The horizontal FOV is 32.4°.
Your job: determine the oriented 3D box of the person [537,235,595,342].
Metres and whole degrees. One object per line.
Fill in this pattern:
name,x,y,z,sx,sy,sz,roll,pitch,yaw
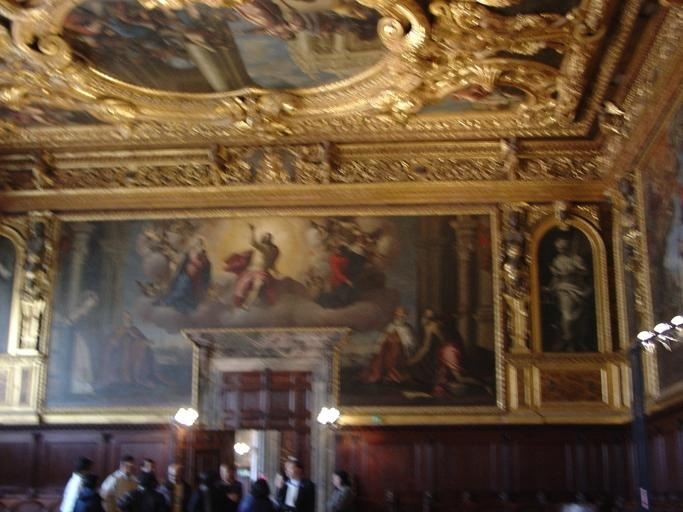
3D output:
person,5.130,0.788,26.944,1.233,2.837,0.600,-3,-23,5
